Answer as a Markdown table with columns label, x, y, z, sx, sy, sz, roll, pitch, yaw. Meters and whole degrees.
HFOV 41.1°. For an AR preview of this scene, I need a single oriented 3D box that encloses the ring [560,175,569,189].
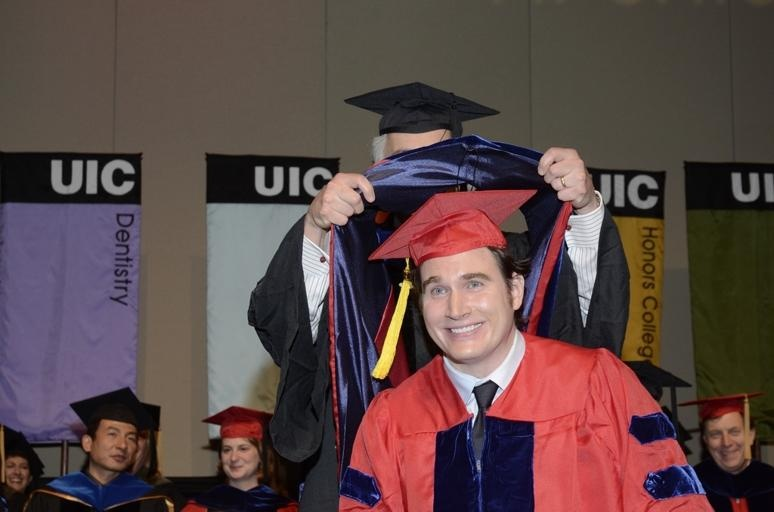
| label | x | y | z | sx | sy | sz | roll | pitch | yaw |
| --- | --- | --- | --- | --- | --- | --- | --- | --- | --- |
| ring | 1.302 | -0.551 | 7.597 | 0.025 | 0.071 | 0.057 | -11 | 4 | -16 |

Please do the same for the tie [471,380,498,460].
| label | x | y | z | sx | sy | sz | roll | pitch | yaw |
| --- | --- | --- | --- | --- | --- | --- | --- | --- | --- |
| tie | 0.682 | 1.182 | 7.393 | 0.168 | 0.562 | 0.067 | -1 | -12 | 18 |

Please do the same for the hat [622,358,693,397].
| label | x | y | z | sx | sy | sz | roll | pitch | yaw |
| --- | --- | --- | --- | --- | --- | --- | --- | --- | --- |
| hat | 2.721 | 1.235 | 10.407 | 0.465 | 0.187 | 0.730 | 0 | -2 | -9 |
